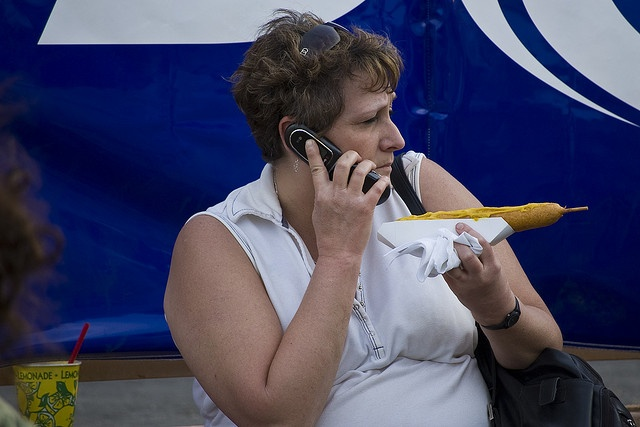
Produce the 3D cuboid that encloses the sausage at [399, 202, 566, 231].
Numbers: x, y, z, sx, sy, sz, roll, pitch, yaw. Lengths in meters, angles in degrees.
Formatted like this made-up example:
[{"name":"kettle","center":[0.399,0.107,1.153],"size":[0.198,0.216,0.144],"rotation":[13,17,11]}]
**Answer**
[{"name":"sausage","center":[0.746,0.008,3.770],"size":[0.453,0.078,0.079],"rotation":[-8,-17,6]}]
